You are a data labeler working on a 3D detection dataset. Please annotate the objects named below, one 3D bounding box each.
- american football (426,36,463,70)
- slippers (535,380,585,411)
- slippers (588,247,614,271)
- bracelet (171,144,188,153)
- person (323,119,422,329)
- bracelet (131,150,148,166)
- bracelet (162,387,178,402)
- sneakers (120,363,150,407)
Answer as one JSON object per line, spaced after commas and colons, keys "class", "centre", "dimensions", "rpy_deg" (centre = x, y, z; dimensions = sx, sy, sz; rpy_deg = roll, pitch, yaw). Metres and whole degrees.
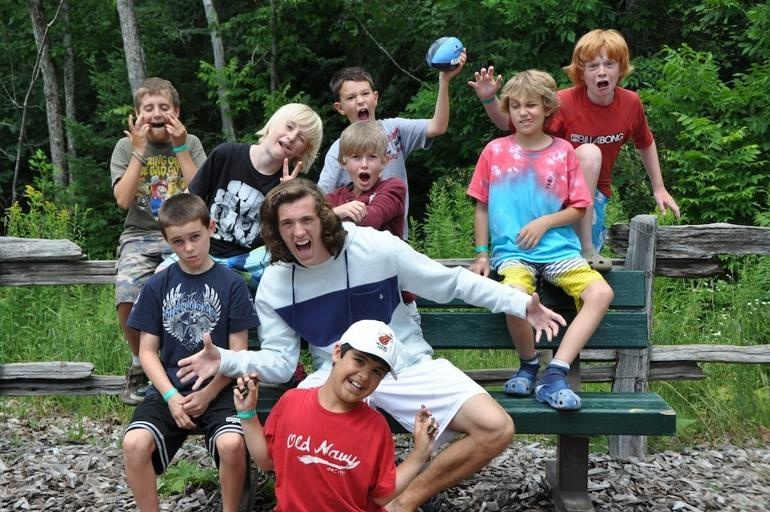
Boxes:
{"class": "american football", "centre": [0.554, -1.808, 6.599], "dimensions": [0.205, 0.339, 0.238], "rpy_deg": [33, -26, 14]}
{"class": "slippers", "centre": [1.292, 1.053, 5.635], "dimensions": [0.177, 0.123, 0.302], "rpy_deg": [-2, 0, -25]}
{"class": "slippers", "centre": [1.825, 0.029, 6.241], "dimensions": [0.223, 0.223, 0.139], "rpy_deg": [-5, 9, 9]}
{"class": "bracelet", "centre": [-1.777, -0.941, 6.514], "dimensions": [0.092, 0.083, 0.038], "rpy_deg": [-18, -7, 19]}
{"class": "person", "centre": [-0.109, -0.231, 6.487], "dimensions": [0.733, 1.935, 0.663], "rpy_deg": [4, 35, 16]}
{"class": "bracelet", "centre": [-2.168, -0.873, 6.635], "dimensions": [0.116, 0.034, 0.121], "rpy_deg": [47, -18, -19]}
{"class": "bracelet", "centre": [-1.627, 1.050, 5.665], "dimensions": [0.119, 0.083, 0.110], "rpy_deg": [-5, -26, -45]}
{"class": "sneakers", "centre": [-2.218, 1.087, 6.583], "dimensions": [0.150, 0.291, 0.421], "rpy_deg": [1, 26, -10]}
